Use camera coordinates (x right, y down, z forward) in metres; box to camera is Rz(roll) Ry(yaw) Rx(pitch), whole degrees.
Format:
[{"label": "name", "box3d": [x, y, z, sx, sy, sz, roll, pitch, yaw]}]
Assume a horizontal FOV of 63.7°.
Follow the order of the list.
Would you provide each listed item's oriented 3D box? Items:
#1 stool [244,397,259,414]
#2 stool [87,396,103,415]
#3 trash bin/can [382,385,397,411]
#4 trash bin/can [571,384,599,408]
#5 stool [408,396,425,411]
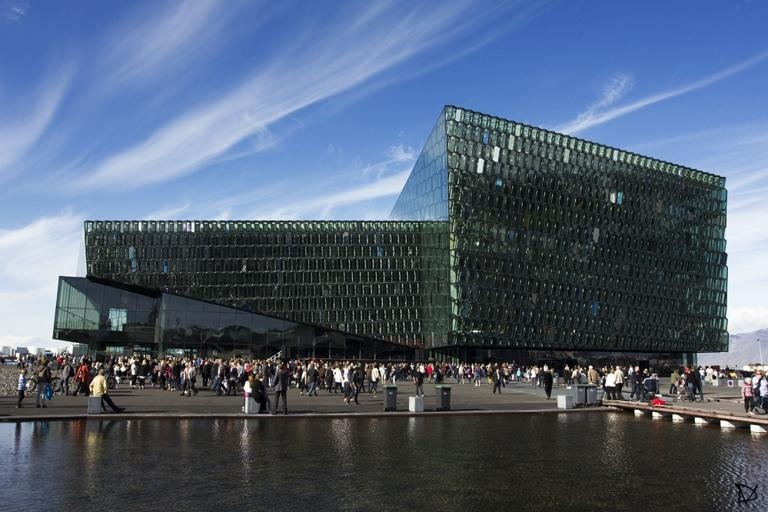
[{"label": "stool", "box3d": [-5.505, 6.032, 25.369, 0.539, 0.740, 0.734, 2, -3, -30]}, {"label": "stool", "box3d": [-11.580, 5.875, 24.561, 0.637, 0.720, 0.647, 0, -4, -1]}, {"label": "trash bin/can", "box3d": [0.256, 6.301, 27.732, 0.531, 1.092, 0.385, 0, 5, -8]}, {"label": "trash bin/can", "box3d": [9.906, 6.813, 30.697, 1.664, 1.227, 0.926, 1, -2, -9]}, {"label": "stool", "box3d": [1.494, 6.586, 27.804, 0.627, 0.652, 0.640, 2, -5, -10]}]
